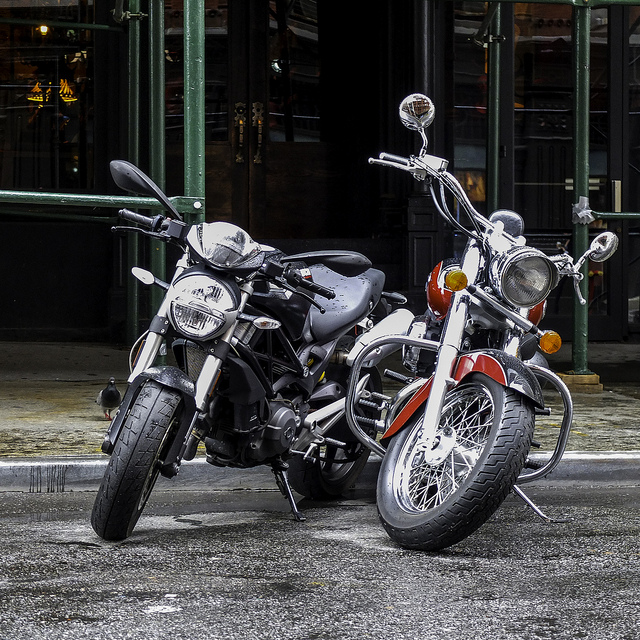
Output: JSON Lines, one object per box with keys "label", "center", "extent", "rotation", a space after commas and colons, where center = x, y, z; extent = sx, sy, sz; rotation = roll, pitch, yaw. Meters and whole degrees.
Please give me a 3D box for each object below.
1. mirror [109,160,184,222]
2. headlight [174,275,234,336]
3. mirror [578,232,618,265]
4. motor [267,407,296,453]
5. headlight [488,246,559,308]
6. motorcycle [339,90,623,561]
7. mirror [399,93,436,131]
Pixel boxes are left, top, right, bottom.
{"label": "mirror", "center": [-0.718, -0.533, 4.367], "extent": [0.302, 0.236, 0.220], "rotation": [-4, 15, -30]}
{"label": "headlight", "center": [-0.440, -0.056, 4.101], "extent": [0.217, 0.224, 0.078], "rotation": [3, 6, -7]}
{"label": "mirror", "center": [1.154, -0.288, 4.439], "extent": [0.178, 0.101, 0.060], "rotation": [-40, -26, 26]}
{"label": "motor", "center": [-0.164, 0.444, 4.441], "extent": [0.082, 0.178, 0.194], "rotation": [2, 9, 31]}
{"label": "headlight", "center": [0.771, -0.168, 4.145], "extent": [0.261, 0.231, 0.064], "rotation": [1, 27, -1]}
{"label": "motorcycle", "center": [0.661, 0.069, 5.037], "extent": [1.057, 1.717, 2.462], "rotation": [18, 3, -6]}
{"label": "mirror", "center": [0.387, -0.821, 4.260], "extent": [0.186, 0.163, 0.095], "rotation": [1, 11, 1]}
